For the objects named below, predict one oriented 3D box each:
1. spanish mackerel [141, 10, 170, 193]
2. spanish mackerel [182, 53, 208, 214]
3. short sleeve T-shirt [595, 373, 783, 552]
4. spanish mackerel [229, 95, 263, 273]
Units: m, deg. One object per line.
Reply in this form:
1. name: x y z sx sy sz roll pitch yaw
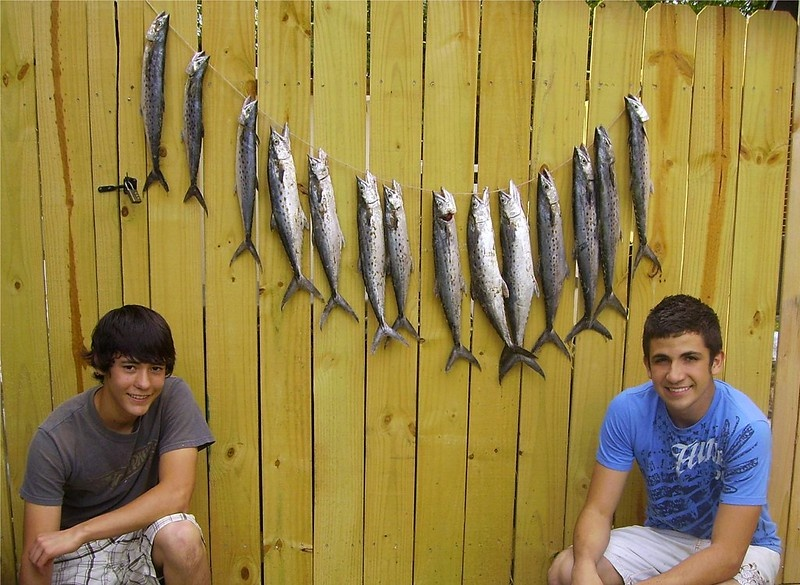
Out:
1. spanish mackerel: -1.233 -0.956 3.970 0.145 0.856 0.241 -2 -5 -25
2. spanish mackerel: -1.038 -0.818 3.978 0.115 0.778 0.215 -2 -5 -27
3. short sleeve T-shirt: 1.394 0.877 3.856 0.733 0.864 0.435 5 20 37
4. spanish mackerel: -0.789 -0.555 4.006 0.141 0.855 0.239 -2 -5 -30
